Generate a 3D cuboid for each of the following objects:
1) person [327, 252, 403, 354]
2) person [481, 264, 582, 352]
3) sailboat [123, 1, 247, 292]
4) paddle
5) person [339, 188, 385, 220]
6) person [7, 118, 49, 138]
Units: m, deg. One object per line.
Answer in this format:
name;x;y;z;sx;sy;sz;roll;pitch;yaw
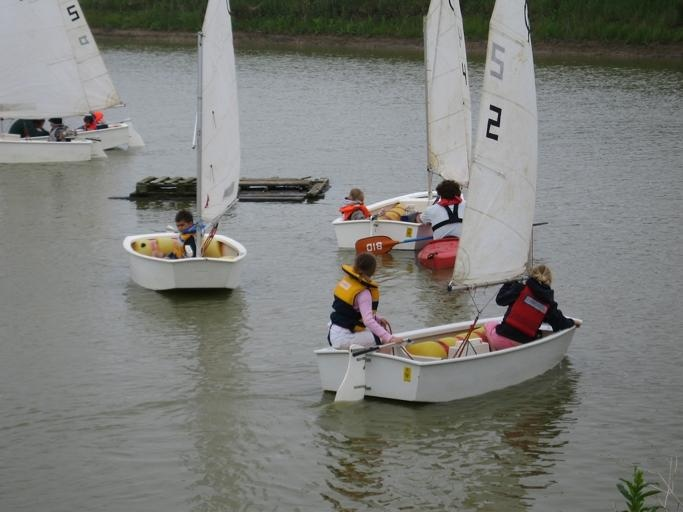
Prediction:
person;0.288;0.727;19.734;0.969;1.481;0.517;-1;20;0
person;3.094;0.907;20.714;0.960;1.204;0.724;22;31;-7
sailboat;-2.569;-1.946;22.981;1.841;5.183;2.330;17;26;40
paddle;1.911;-0.319;23.196;3.049;0.275;0.340;-6;35;-9
person;0.311;-1.041;25.802;0.698;0.689;0.330;0;5;6
person;-8.627;-3.479;34.591;0.873;0.605;0.332;-11;-15;16
